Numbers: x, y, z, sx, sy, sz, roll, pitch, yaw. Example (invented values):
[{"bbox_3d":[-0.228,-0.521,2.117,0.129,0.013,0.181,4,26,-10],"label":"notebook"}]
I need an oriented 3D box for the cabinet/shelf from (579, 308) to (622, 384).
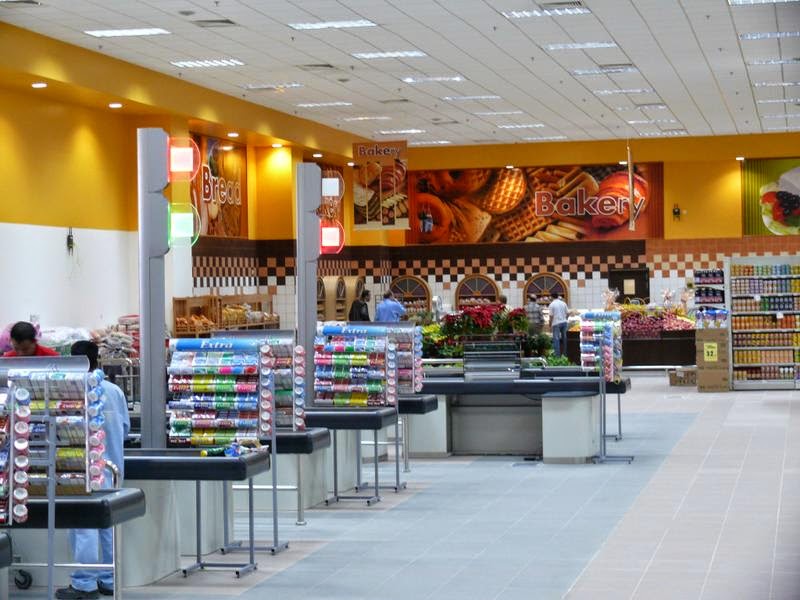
[{"bbox_3d":[2.351,0.537,10.117,0.451,0.772,0.605,-2,-3,26],"label":"cabinet/shelf"}]
